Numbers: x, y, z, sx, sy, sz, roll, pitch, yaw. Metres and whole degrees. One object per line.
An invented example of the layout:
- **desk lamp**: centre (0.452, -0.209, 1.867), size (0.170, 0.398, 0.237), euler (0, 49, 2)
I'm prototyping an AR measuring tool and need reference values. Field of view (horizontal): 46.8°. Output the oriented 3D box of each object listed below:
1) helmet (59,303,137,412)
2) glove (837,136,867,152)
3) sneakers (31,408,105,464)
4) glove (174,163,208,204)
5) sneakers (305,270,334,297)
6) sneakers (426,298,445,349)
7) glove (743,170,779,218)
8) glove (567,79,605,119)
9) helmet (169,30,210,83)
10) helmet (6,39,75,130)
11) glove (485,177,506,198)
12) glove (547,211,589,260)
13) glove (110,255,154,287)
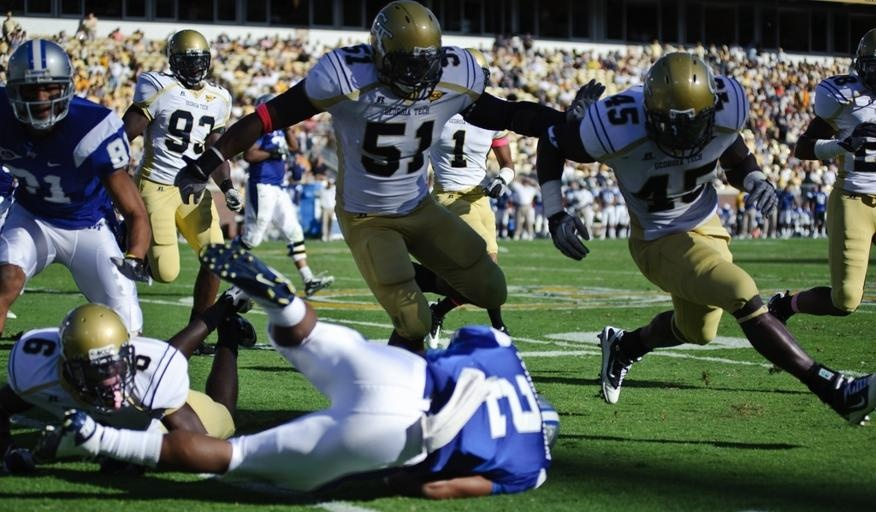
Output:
- **helmet**: centre (-2.048, 0.566, 6.081), size (0.425, 0.577, 0.589), euler (-6, 25, -23)
- **glove**: centre (3.115, -0.857, 7.665), size (0.160, 0.061, 0.122), euler (17, -11, 34)
- **sneakers**: centre (-2.112, 1.025, 5.822), size (0.410, 0.269, 0.196), euler (-19, 10, 13)
- **glove**: centre (-1.686, -0.496, 6.910), size (0.201, 0.339, 0.526), euler (-4, 15, -14)
- **sneakers**: centre (-1.332, 0.317, 11.318), size (0.303, 0.164, 0.105), euler (-28, 28, 23)
- **sneakers**: centre (-0.043, 0.557, 8.367), size (0.143, 0.420, 0.185), euler (7, -18, -39)
- **glove**: centre (2.176, -0.426, 6.860), size (0.226, 0.290, 0.341), euler (4, 15, 14)
- **glove**: centre (1.011, -1.097, 7.002), size (0.245, 0.243, 0.509), euler (2, 15, 8)
- **helmet**: centre (-2.152, -1.746, 8.760), size (0.356, 0.438, 0.457), euler (-3, 20, -21)
- **helmet**: centre (-2.578, -1.112, 6.572), size (0.429, 0.534, 0.580), euler (-1, 13, -12)
- **glove**: centre (0.505, -0.608, 9.025), size (0.087, 0.142, 0.202), euler (-34, 15, 49)
- **glove**: centre (0.876, -0.121, 6.763), size (0.292, 0.111, 0.383), euler (-14, -36, -2)
- **glove**: centre (-2.079, 0.087, 6.852), size (0.274, 0.109, 0.176), euler (32, -5, -5)
